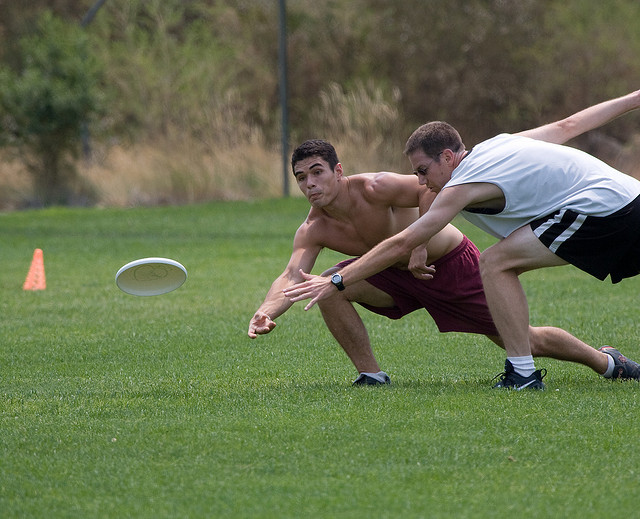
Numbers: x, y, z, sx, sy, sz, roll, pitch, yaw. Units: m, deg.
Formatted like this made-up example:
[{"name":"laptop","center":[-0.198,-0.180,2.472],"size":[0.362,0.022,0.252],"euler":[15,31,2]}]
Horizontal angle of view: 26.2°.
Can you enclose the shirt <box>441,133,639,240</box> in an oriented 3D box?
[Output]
[{"name":"shirt","center":[1.255,-0.460,7.973],"size":[0.890,0.432,0.593],"euler":[3,7,11]}]

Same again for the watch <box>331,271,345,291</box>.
[{"name":"watch","center":[0.103,0.119,7.856],"size":[0.059,0.092,0.098],"euler":[-30,64,-18]}]

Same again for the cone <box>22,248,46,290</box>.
[{"name":"cone","center":[-2.470,0.053,11.860],"size":[0.195,0.390,0.608],"euler":[-3,13,-11]}]

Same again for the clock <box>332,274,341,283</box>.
[{"name":"clock","center":[0.094,0.104,7.850],"size":[0.034,0.051,0.048],"euler":[-12,57,-48]}]

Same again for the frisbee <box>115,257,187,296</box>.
[{"name":"frisbee","center":[-1.094,0.113,8.925],"size":[0.438,0.329,0.402],"euler":[-2,13,-7]}]
